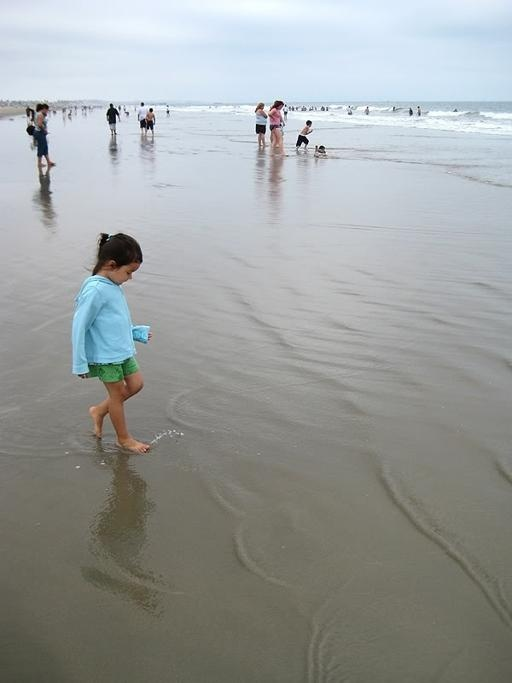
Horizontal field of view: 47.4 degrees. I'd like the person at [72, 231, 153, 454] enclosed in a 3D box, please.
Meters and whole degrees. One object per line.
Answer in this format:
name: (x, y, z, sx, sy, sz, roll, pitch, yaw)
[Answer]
person: (-0.721, -0.006, 2.914, 0.368, 1.085, 0.431, -3, 21, -10)
